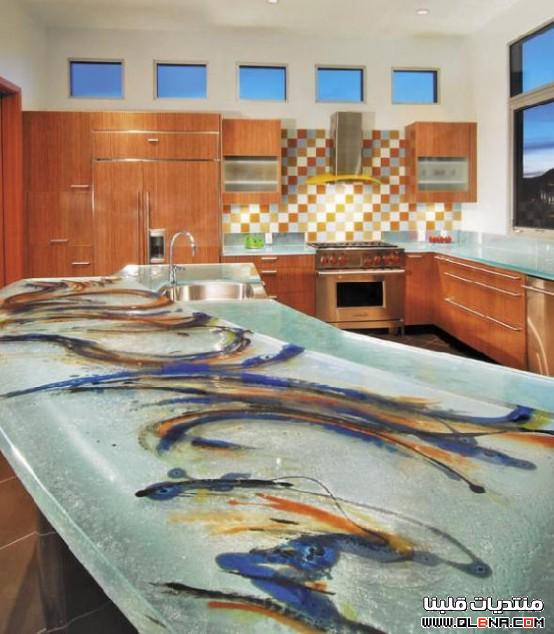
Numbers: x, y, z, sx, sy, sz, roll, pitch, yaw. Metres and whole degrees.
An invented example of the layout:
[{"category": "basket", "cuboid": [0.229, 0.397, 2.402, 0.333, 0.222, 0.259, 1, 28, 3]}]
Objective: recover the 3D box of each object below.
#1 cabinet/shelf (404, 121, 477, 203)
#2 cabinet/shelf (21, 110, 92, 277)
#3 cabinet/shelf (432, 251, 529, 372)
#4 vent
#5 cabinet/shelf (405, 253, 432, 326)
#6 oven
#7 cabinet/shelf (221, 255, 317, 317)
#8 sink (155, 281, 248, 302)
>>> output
[{"category": "cabinet/shelf", "cuboid": [1.853, -1.659, 5.696, 0.665, 0.814, 0.458, 11, 29, 35]}, {"category": "cabinet/shelf", "cuboid": [-2.017, -1.118, 4.886, 0.604, 1.460, 0.158, 1, 12, -2]}, {"category": "cabinet/shelf", "cuboid": [1.653, -0.047, 4.189, 0.720, 0.543, 1.159, -5, 16, -12]}, {"category": "vent", "cuboid": [0.655, -1.742, 5.657, 0.788, 0.700, 0.789, 0, 13, 0]}, {"category": "cabinet/shelf", "cuboid": [1.431, -0.285, 5.335, 0.299, 0.705, 0.087, -3, 12, -18]}, {"category": "oven", "cuboid": [0.811, -0.152, 5.341, 0.811, 0.682, 0.617, -1, 4, -6]}, {"category": "cabinet/shelf", "cuboid": [-0.124, -0.384, 5.357, 1.070, 0.899, 0.559, -1, 6, -5]}, {"category": "sink", "cuboid": [-0.381, -0.125, 2.731, 0.467, 0.105, 0.300, -2, 12, -13]}]
